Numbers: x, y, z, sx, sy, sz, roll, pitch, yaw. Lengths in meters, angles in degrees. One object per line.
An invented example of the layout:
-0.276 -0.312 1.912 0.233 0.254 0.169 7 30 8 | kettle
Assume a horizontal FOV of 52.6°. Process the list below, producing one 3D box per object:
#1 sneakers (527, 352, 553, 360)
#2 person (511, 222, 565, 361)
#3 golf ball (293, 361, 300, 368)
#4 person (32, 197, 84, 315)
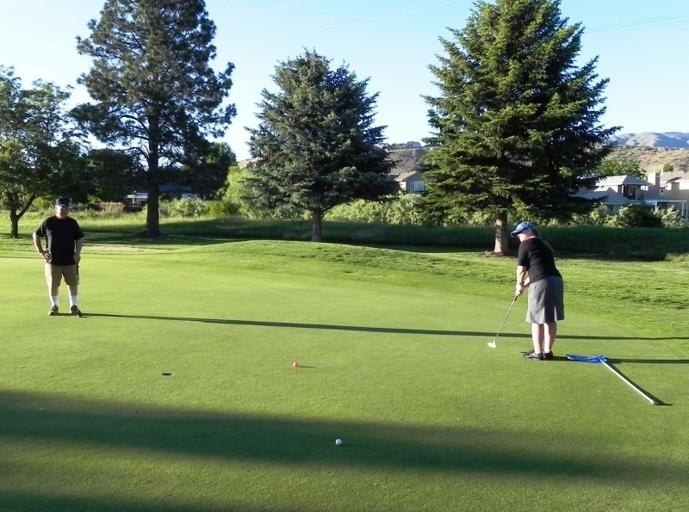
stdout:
2.788 1.410 9.820 0.364 0.112 0.121 1 -3 21 | sneakers
2.825 0.476 9.963 0.532 1.913 0.602 -1 5 -18 | person
-0.657 1.417 9.005 0.071 0.059 0.064 1 -8 -12 | golf ball
-4.970 -0.031 11.771 0.762 1.906 1.531 -1 5 -22 | person
